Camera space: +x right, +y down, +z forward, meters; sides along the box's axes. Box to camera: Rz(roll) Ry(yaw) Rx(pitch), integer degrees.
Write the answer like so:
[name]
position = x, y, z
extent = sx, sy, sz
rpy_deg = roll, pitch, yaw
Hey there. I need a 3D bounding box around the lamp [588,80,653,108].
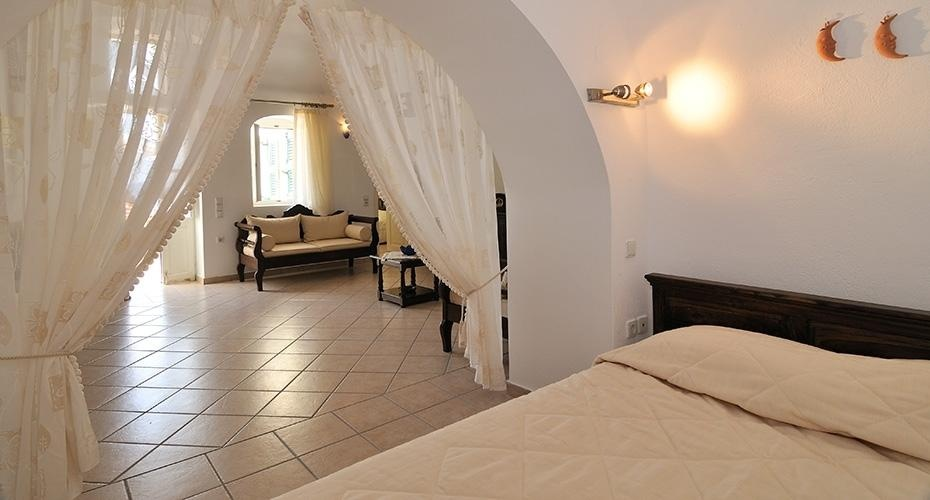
[lamp]
position = 1.186, -1.157, 3.854
extent = 0.633, 0.164, 0.173
rpy_deg = -8, 13, -31
